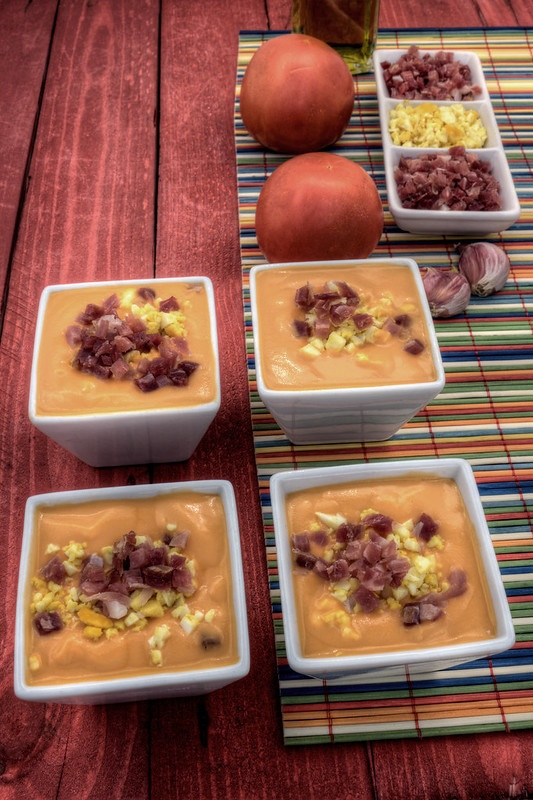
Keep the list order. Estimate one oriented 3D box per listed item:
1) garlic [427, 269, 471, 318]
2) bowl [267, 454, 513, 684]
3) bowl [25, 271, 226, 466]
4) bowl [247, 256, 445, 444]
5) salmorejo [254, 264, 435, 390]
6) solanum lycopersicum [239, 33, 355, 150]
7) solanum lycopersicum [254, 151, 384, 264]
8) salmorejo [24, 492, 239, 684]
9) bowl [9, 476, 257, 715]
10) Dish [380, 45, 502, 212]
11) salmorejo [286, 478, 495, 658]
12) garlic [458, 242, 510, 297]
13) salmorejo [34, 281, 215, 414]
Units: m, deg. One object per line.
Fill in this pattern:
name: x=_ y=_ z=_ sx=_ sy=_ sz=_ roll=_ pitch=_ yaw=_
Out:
garlic: x=0.366 y=-0.219 z=1.421 sx=0.115 sy=0.082 sz=0.090 roll=-13 pitch=14 yaw=-36
bowl: x=0.165 y=0.228 z=1.020 sx=0.360 sy=0.162 sz=0.346 roll=1 pitch=61 yaw=-2
bowl: x=-0.229 y=-0.009 z=1.198 sx=0.310 sy=0.222 sz=0.317 roll=1 pitch=61 yaw=-2
bowl: x=0.131 y=-0.061 z=1.252 sx=0.346 sy=0.218 sz=0.357 roll=-2 pitch=50 yaw=2
salmorejo: x=0.125 y=-0.132 z=1.157 sx=0.283 sy=0.051 sz=0.256 roll=-3 pitch=50 yaw=-3
solanum lycopersicum: x=0.076 y=-0.681 z=1.482 sx=0.189 sy=0.184 sz=0.171 roll=13 pitch=46 yaw=-3
solanum lycopersicum: x=0.096 y=-0.367 z=1.374 sx=0.266 sy=0.227 sz=0.234 roll=-7 pitch=8 yaw=8
salmorejo: x=-0.189 y=0.250 z=0.953 sx=0.275 sy=0.041 sz=0.255 roll=-5 pitch=51 yaw=-5
bowl: x=-0.199 y=0.253 z=0.973 sx=0.344 sy=0.148 sz=0.348 roll=-3 pitch=15 yaw=1
Dish: x=0.384 y=-0.634 z=1.566 sx=0.278 sy=0.109 sz=0.476 roll=-2 pitch=62 yaw=-2
salmorejo: x=0.172 y=0.226 z=0.991 sx=0.277 sy=0.068 sz=0.259 roll=-4 pitch=51 yaw=-3
garlic: x=0.469 y=-0.293 z=1.508 sx=0.126 sy=0.122 sz=0.154 roll=-5 pitch=32 yaw=16
salmorejo: x=-0.231 y=-0.092 z=1.121 sx=0.276 sy=0.037 sz=0.263 roll=-5 pitch=51 yaw=-4
